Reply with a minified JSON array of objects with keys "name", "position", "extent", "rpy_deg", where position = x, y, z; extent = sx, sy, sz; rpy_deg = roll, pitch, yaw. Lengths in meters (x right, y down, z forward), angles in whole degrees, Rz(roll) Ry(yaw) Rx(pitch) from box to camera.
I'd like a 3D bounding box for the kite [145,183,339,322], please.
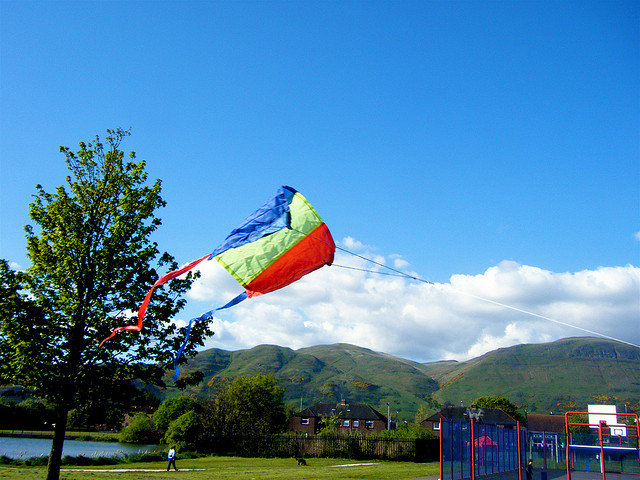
[{"name":"kite","position":[-1.763,0.277,19.419],"extent":[6.494,3.909,1.157],"rpy_deg":[-30,-5,-18]}]
